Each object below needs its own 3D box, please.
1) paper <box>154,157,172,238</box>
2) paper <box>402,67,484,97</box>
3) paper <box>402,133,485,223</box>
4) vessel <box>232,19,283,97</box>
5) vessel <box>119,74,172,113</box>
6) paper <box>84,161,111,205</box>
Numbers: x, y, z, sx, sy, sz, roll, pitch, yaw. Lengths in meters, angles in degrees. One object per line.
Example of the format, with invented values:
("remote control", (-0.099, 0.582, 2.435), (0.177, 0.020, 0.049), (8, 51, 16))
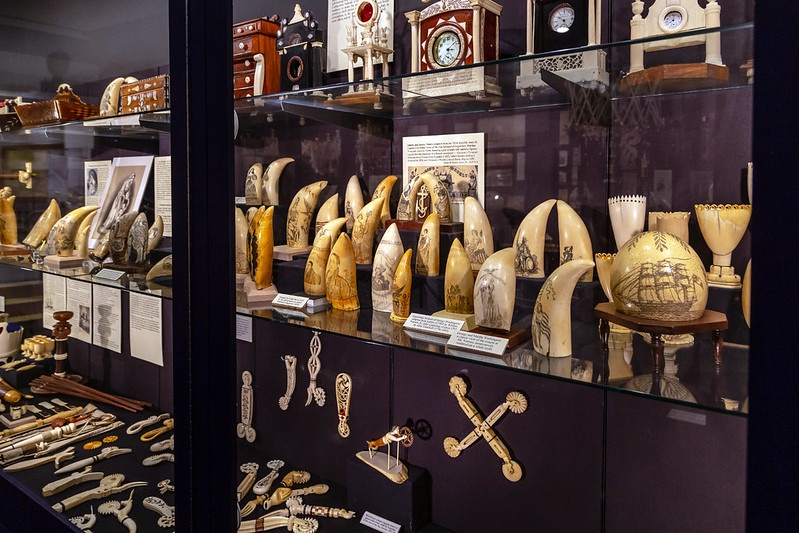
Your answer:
("paper", (-0.566, -0.173, 1.636), (0.009, 0.191, 0.106), (-5, 8, -39))
("paper", (0.111, -0.483, 1.770), (0.226, 0.046, 0.216), (1, 7, 10))
("paper", (0.141, -0.262, 2.015), (0.254, 0.278, 0.026), (1, 1, 38))
("vessel", (-0.469, -0.684, 2.187), (0.165, 0.240, 0.133), (8, 24, 17))
("vessel", (-0.594, -0.422, 1.653), (0.129, 0.089, 0.067), (6, 29, 27))
("paper", (-0.805, -0.232, 1.828), (0.085, 0.126, 0.008), (13, 10, 29))
